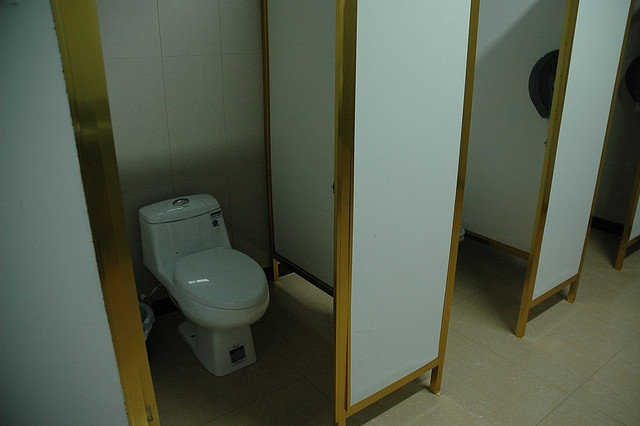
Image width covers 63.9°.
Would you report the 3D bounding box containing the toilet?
[{"bbox_3d":[-0.623,0.407,2.902,0.508,0.796,0.840,-15,28,-38],"label":"toilet"}]
